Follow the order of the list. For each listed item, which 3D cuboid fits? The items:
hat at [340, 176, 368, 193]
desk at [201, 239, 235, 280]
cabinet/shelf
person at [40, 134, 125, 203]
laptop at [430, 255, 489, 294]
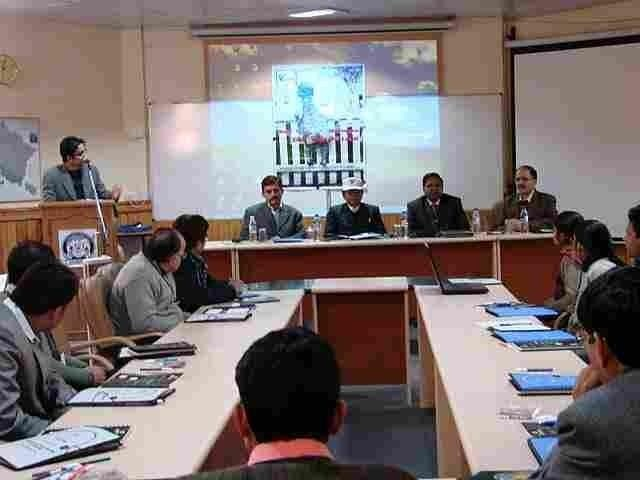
[{"bbox_3d":[0.300,-0.501,4.707,0.215,0.114,0.313,1,4,0],"label":"hat"},{"bbox_3d":[-0.783,0.165,4.114,0.264,0.263,0.266,0,1,-1],"label":"desk"},{"bbox_3d":[0.281,0.514,3.494,0.745,0.785,0.593,-1,0,3],"label":"cabinet/shelf"},{"bbox_3d":[-1.774,-0.388,3.828,0.506,0.730,0.389,-7,-3,-38],"label":"person"},{"bbox_3d":[0.786,0.248,2.971,0.261,0.179,0.284,-3,4,0],"label":"laptop"}]
